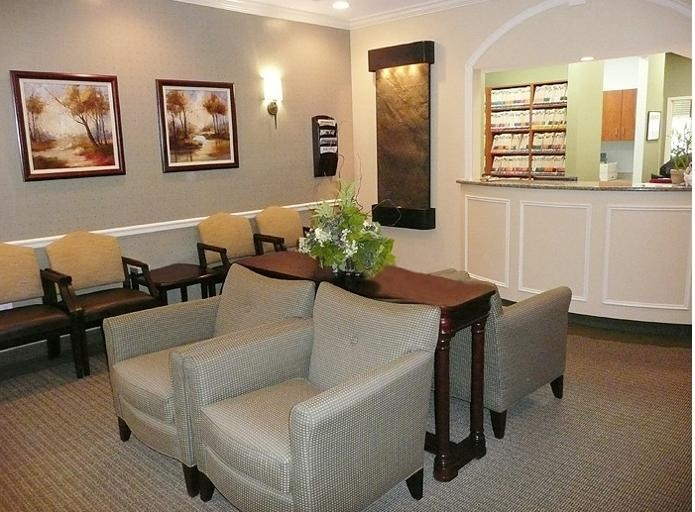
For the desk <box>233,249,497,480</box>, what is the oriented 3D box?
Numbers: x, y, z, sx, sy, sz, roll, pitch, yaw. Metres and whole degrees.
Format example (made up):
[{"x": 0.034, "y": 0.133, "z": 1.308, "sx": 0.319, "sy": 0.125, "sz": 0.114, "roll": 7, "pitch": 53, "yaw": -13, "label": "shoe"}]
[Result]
[{"x": -0.012, "y": 0.750, "z": 3.548, "sx": 2.079, "sy": 1.195, "sz": 0.693, "roll": 6, "pitch": 6, "yaw": 44, "label": "desk"}]

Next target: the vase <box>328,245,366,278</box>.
[{"x": 0.001, "y": 0.051, "z": 3.190, "sx": 0.199, "sy": 0.148, "sz": 0.162, "roll": -14, "pitch": 22, "yaw": -43, "label": "vase"}]

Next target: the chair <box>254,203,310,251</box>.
[{"x": -0.808, "y": -0.402, "z": 5.950, "sx": 0.504, "sy": 0.685, "sz": 0.539, "roll": -10, "pitch": 15, "yaw": -37, "label": "chair"}]

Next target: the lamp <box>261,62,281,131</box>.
[{"x": -0.870, "y": -1.921, "z": 5.873, "sx": 0.288, "sy": 0.726, "sz": 0.153, "roll": -12, "pitch": 17, "yaw": -39, "label": "lamp"}]

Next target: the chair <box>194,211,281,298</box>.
[{"x": -1.351, "y": -0.126, "z": 5.548, "sx": 0.873, "sy": 1.277, "sz": 0.869, "roll": -8, "pitch": 13, "yaw": -40, "label": "chair"}]

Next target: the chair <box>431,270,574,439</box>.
[{"x": 1.165, "y": 0.601, "z": 3.485, "sx": 1.030, "sy": 1.140, "sz": 1.015, "roll": 8, "pitch": 15, "yaw": 42, "label": "chair"}]

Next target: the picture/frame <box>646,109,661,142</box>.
[{"x": 5.462, "y": -2.344, "z": 8.619, "sx": 0.059, "sy": 0.654, "sz": 0.502, "roll": 5, "pitch": 11, "yaw": 43, "label": "picture/frame"}]

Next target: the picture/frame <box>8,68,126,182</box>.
[{"x": -2.674, "y": -1.237, "z": 4.531, "sx": 1.028, "sy": 1.163, "sz": 0.078, "roll": -7, "pitch": 9, "yaw": -42, "label": "picture/frame"}]

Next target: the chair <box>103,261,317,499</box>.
[{"x": -0.851, "y": 0.685, "z": 3.451, "sx": 1.197, "sy": 1.471, "sz": 1.378, "roll": 9, "pitch": 12, "yaw": 41, "label": "chair"}]
